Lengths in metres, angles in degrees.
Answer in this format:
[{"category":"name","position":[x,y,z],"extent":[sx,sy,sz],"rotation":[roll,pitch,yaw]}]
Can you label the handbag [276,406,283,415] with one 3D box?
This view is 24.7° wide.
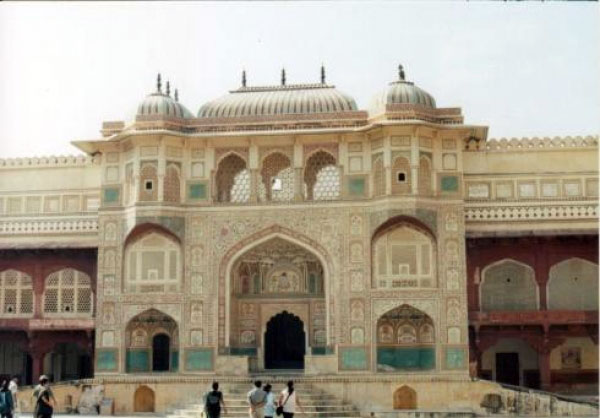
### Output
[{"category":"handbag","position":[-0.508,5.031,34.403],"extent":[0.074,0.193,0.157],"rotation":[2,21,1]}]
